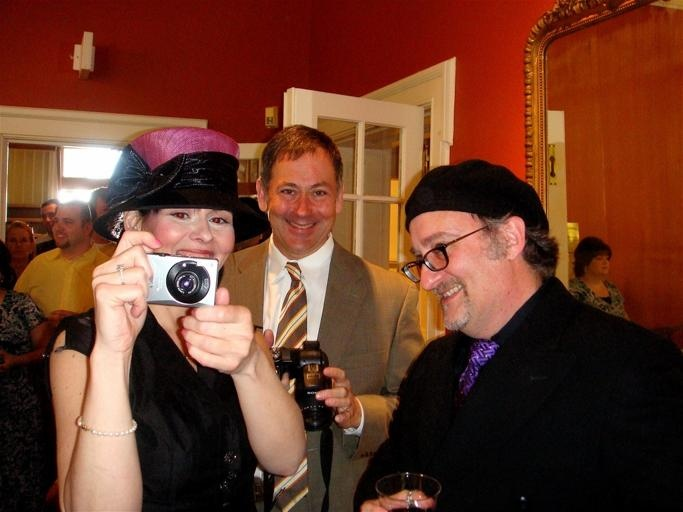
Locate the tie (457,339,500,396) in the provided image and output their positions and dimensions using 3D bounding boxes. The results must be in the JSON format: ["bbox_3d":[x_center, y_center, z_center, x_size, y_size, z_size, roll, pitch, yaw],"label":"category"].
[{"bbox_3d":[0.520,0.425,2.366,0.067,0.206,0.154,24,-19,6],"label":"tie"}]

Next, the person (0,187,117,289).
[{"bbox_3d":[-2.414,-0.142,5.138,1.059,0.925,0.572,-2,-21,-9],"label":"person"}]

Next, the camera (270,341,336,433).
[{"bbox_3d":[-0.155,0.477,2.242,0.285,0.306,0.177,-1,-9,-1],"label":"camera"}]

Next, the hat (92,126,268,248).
[{"bbox_3d":[-0.658,-0.239,2.391,0.467,0.247,0.471,3,-11,-19],"label":"hat"}]

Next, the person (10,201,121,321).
[{"bbox_3d":[-1.993,0.047,4.349,0.849,0.745,0.464,-5,-16,-9],"label":"person"}]

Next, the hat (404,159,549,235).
[{"bbox_3d":[0.543,-0.235,2.448,0.422,0.184,0.310,4,-10,-12],"label":"hat"}]
